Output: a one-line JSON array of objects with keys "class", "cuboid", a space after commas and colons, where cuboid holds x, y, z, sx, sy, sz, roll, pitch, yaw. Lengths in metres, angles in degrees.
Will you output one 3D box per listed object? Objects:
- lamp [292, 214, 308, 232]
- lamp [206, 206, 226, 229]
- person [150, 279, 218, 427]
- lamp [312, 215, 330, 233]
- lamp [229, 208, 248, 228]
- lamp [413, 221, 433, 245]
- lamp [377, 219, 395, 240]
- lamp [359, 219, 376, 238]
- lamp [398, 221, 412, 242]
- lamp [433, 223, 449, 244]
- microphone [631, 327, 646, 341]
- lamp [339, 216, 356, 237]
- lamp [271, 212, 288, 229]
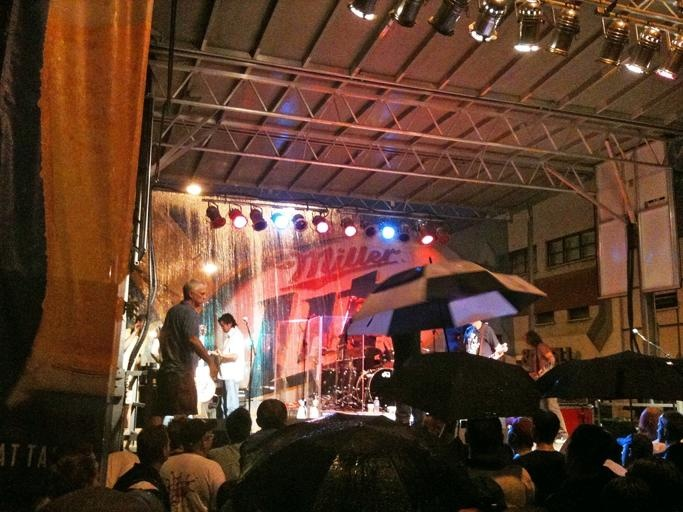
[{"class": "lamp", "cuboid": [-1.012, -0.809, 13.699, 0.335, 0.399, 0.395, 0, 19, -5]}, {"class": "lamp", "cuboid": [-2.835, -0.927, 12.685, 0.425, 0.550, 0.322, 2, -18, -9]}, {"class": "person", "cuboid": [-1.627, 0.950, 5.942, 0.553, 1.395, 0.716, 5, -18, -18]}, {"class": "lamp", "cuboid": [-0.504, -0.791, 13.560, 0.421, 0.388, 0.288, 9, -20, -29]}, {"class": "lamp", "cuboid": [-2.363, -0.891, 13.002, 0.396, 0.459, 0.437, -12, 26, -22]}, {"class": "lamp", "cuboid": [2.191, -0.638, 14.869, 0.401, 0.656, 0.624, 4, -18, -17]}, {"class": "lamp", "cuboid": [1.152, -0.682, 14.714, 0.434, 0.449, 0.525, 0, 21, -3]}, {"class": "lamp", "cuboid": [0.660, -0.724, 14.472, 0.324, 0.471, 0.358, -8, -3, -8]}, {"class": "lamp", "cuboid": [1.627, -0.669, 14.848, 0.279, 0.413, 0.292, -10, -53, 13]}, {"class": "lamp", "cuboid": [2.605, -0.610, 14.828, 0.335, 0.600, 0.518, -6, -18, 14]}, {"class": "microphone", "cuboid": [5.784, 1.500, 11.026, 0.184, 0.286, 0.488, -10, -19, 26]}, {"class": "lamp", "cuboid": [0.145, -0.782, 13.893, 0.308, 0.563, 0.409, -1, -17, 0]}, {"class": "lamp", "cuboid": [-1.482, -0.841, 13.400, 0.393, 0.393, 0.288, -4, 1, -28]}]
